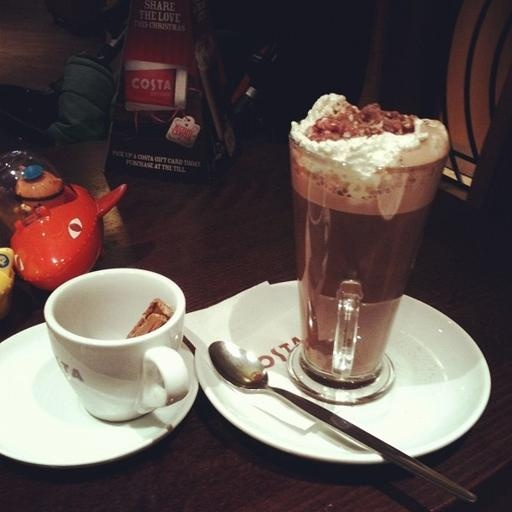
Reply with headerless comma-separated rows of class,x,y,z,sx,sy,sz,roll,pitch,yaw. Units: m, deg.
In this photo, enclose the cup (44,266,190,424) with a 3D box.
cup,-0.149,0.114,0.532,0.139,0.126,0.181,-6,30,-30
